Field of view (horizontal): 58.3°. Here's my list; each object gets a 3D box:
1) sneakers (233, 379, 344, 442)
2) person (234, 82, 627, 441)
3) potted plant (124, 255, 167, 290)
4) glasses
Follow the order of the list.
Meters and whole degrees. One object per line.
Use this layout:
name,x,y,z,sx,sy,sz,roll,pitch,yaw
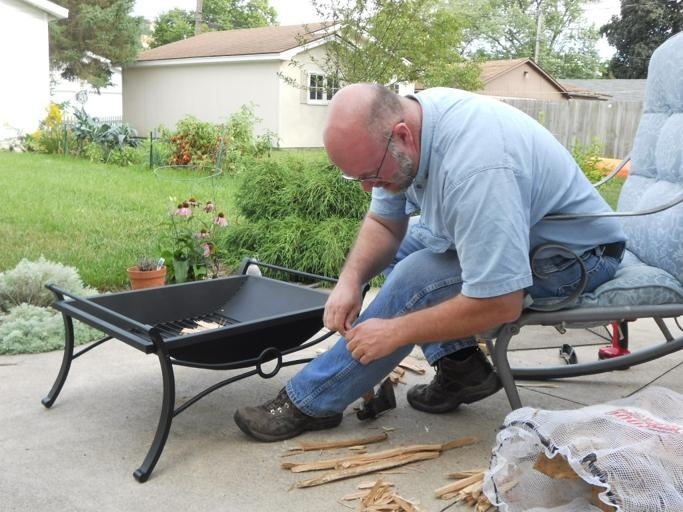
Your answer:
sneakers,-0.233,0.641,2.584,0.462,0.203,0.182,1,10,-17
person,0.385,0.018,2.547,1.707,1.414,1.085,-16,19,-25
potted plant,-1.209,0.106,3.812,0.203,0.173,0.249,0,9,-9
glasses,0.114,-0.391,2.236,0.060,0.218,0.221,-5,-26,24
